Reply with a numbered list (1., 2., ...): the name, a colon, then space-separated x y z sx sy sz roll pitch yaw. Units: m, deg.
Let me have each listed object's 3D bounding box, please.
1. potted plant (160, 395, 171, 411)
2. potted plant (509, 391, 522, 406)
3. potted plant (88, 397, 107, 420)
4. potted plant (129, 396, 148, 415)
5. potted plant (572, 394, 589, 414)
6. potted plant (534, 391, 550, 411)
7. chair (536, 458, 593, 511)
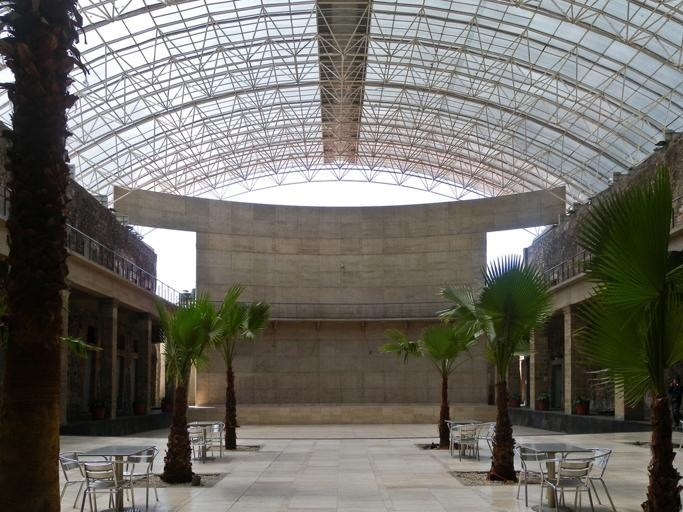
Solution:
1. potted plant: -8.485 7.030 35.684 0.587 0.687 0.607 0 -2 30
2. potted plant: 8.891 7.302 38.190 0.536 0.700 1.028 -4 -14 13
3. potted plant: -9.266 5.760 28.276 0.603 0.746 0.466 1 -13 -7
4. potted plant: -8.822 6.533 32.530 0.623 0.495 0.653 -3 -13 12
5. potted plant: 9.334 5.757 29.133 0.589 0.687 0.639 -2 -4 15
6. potted plant: 9.056 6.513 33.801 0.695 0.977 0.746 1 -4 -7
7. chair: 3.620 3.615 11.889 0.751 0.817 1.708 -5 -14 17
